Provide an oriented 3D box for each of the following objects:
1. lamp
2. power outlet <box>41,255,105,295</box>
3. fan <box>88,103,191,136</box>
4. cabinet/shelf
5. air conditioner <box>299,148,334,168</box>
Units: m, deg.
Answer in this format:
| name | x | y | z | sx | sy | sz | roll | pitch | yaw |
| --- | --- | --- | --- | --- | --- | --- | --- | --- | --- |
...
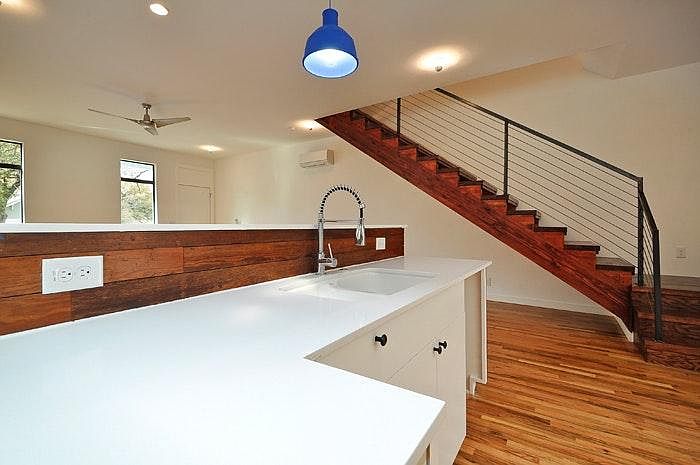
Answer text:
| name | x | y | z | sx | sy | sz | roll | pitch | yaw |
| --- | --- | --- | --- | --- | --- | --- | --- | --- | --- |
| lamp | -0.155 | -1.458 | 3.223 | 0.345 | 0.487 | 0.346 | -9 | 16 | -40 |
| power outlet | -1.622 | 0.241 | 2.428 | 0.263 | 0.170 | 0.025 | 0 | 0 | -28 |
| fan | -2.768 | -1.527 | 5.782 | 0.730 | 0.163 | 0.721 | 1 | -1 | -3 |
| cabinet/shelf | 0.475 | 1.036 | 2.843 | 0.397 | 1.207 | 1.443 | 11 | 15 | 37 |
| air conditioner | -0.584 | -1.264 | 7.238 | 0.651 | 0.327 | 0.245 | 9 | 14 | 35 |
